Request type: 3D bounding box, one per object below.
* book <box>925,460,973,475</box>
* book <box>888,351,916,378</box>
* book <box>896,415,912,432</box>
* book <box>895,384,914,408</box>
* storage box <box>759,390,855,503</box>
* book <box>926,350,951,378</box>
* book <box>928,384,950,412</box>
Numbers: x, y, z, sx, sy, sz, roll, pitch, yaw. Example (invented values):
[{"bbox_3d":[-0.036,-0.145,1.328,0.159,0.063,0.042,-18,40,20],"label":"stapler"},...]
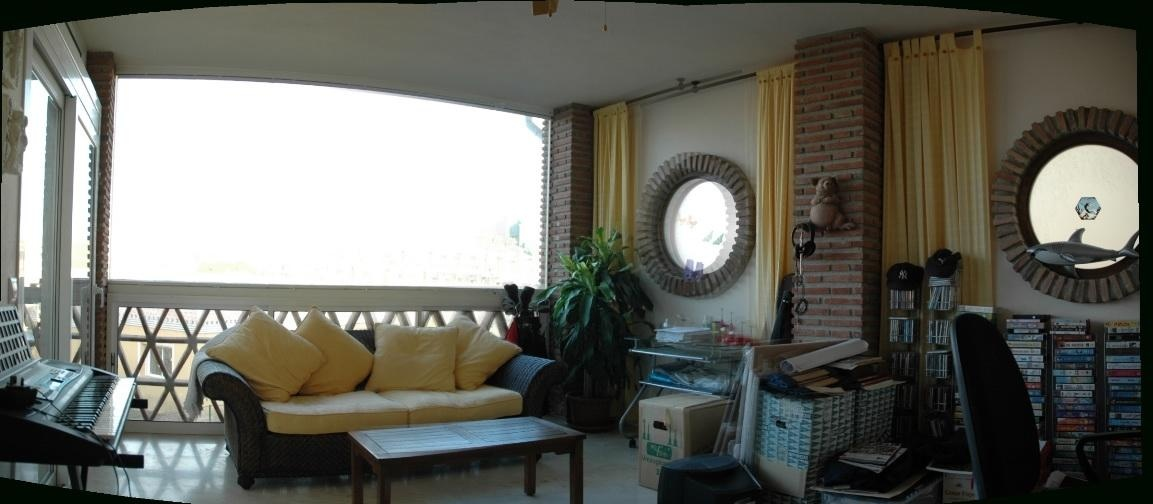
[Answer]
[{"bbox_3d":[4.029,2.326,7.492,0.340,0.071,0.333,4,-2,-44],"label":"book"},{"bbox_3d":[3.799,1.334,8.305,0.369,0.356,0.318,0,-2,14],"label":"book"},{"bbox_3d":[3.811,1.978,8.115,0.226,0.173,0.083,0,-2,-24],"label":"book"},{"bbox_3d":[3.867,1.674,8.189,0.318,0.277,0.047,0,-3,-28],"label":"book"},{"bbox_3d":[2.396,2.086,7.510,0.878,1.134,0.282,-1,-2,-5],"label":"storage box"},{"bbox_3d":[4.157,1.294,8.004,0.262,0.313,0.082,-2,-2,18],"label":"book"},{"bbox_3d":[4.182,1.660,7.994,0.258,0.313,0.077,-2,-2,22],"label":"book"}]
